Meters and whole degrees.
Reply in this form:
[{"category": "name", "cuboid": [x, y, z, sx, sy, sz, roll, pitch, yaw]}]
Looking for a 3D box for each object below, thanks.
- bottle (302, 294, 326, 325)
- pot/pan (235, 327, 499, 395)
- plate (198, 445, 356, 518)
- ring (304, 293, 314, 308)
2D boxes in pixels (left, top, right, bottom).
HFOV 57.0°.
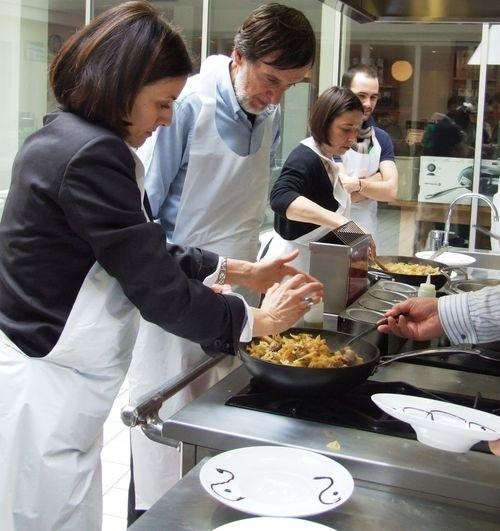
[{"category": "bottle", "cuboid": [0.190, 0.125, 1.361, 0.088, 0.080, 0.091, 0, 10, -3]}, {"category": "pot/pan", "cuboid": [0.205, 0.194, 0.900, 0.408, 0.072, 0.210, 1, -3, 8]}, {"category": "plate", "cuboid": [0.037, 0.287, 0.626, 0.198, 0.027, 0.167, 4, 8, 18]}, {"category": "ring", "cuboid": [0.139, 0.087, 1.110, 0.021, 0.027, 0.027, 7, 10, 4]}]
